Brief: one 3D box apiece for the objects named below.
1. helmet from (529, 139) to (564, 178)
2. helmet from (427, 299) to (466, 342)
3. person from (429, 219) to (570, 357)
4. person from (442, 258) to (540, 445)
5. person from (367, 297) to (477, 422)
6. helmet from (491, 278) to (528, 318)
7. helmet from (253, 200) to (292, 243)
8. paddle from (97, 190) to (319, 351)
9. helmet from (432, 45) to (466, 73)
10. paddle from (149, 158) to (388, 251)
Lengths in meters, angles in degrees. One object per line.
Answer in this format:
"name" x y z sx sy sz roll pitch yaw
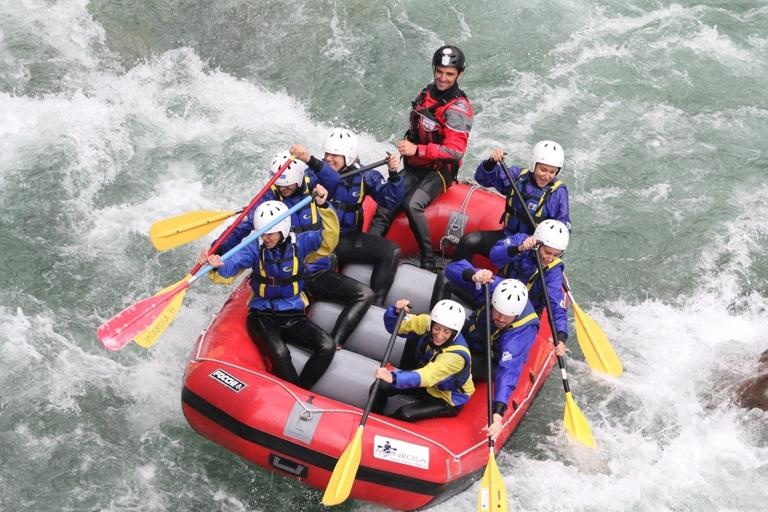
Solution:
"helmet" 2.011 -1.235 9.739 0.324 0.371 0.424 10 52 -3
"helmet" 0.712 0.647 8.687 0.343 0.446 0.424 24 104 4
"person" 1.389 0.413 9.311 1.089 1.290 0.660 39 44 13
"person" 1.217 1.096 8.993 1.030 0.913 1.903 12 57 1
"person" 0.426 1.220 8.886 0.911 1.220 0.657 4 44 -40
"helmet" 1.400 0.462 8.834 0.326 0.427 0.327 29 102 7
"helmet" -1.224 -0.358 8.998 0.357 0.418 0.455 11 93 8
"paddle" -2.156 0.266 9.714 3.671 0.198 0.593 -32 85 -14
"helmet" 0.824 -2.517 10.138 0.290 0.347 0.368 8 108 22
"paddle" -1.457 -0.605 10.066 2.734 0.200 0.459 -27 81 5
